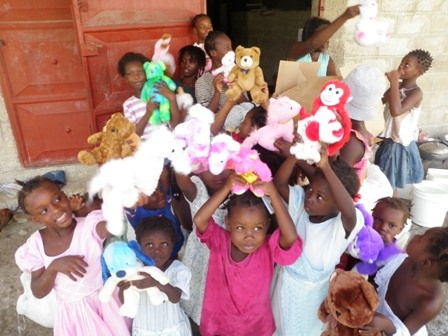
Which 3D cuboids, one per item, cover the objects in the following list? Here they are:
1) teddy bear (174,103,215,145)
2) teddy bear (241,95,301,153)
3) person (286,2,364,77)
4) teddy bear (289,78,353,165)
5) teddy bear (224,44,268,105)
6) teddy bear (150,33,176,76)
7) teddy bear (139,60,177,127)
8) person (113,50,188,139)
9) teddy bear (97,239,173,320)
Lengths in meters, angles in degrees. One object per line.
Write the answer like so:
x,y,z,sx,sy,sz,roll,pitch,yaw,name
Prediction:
-0.209,-0.293,2.653,0.224,0.297,0.150,20,-13,-18,teddy bear
0.390,-0.347,3.138,0.436,0.399,0.157,-31,47,0,teddy bear
1.038,-1.375,4.279,0.622,0.843,1.145,4,25,8,person
0.719,-0.303,2.854,0.395,0.644,0.248,22,-15,5,teddy bear
0.198,-0.762,3.391,0.468,0.577,0.452,3,45,4,teddy bear
-0.588,-1.112,3.738,0.240,0.380,0.383,7,47,-13,teddy bear
-0.631,-0.702,3.630,0.323,0.551,0.336,-3,25,-7,teddy bear
-0.760,-0.695,3.725,0.592,0.858,0.270,-10,-1,8,person
-0.654,0.775,2.685,0.494,0.505,0.304,-14,23,-6,teddy bear
